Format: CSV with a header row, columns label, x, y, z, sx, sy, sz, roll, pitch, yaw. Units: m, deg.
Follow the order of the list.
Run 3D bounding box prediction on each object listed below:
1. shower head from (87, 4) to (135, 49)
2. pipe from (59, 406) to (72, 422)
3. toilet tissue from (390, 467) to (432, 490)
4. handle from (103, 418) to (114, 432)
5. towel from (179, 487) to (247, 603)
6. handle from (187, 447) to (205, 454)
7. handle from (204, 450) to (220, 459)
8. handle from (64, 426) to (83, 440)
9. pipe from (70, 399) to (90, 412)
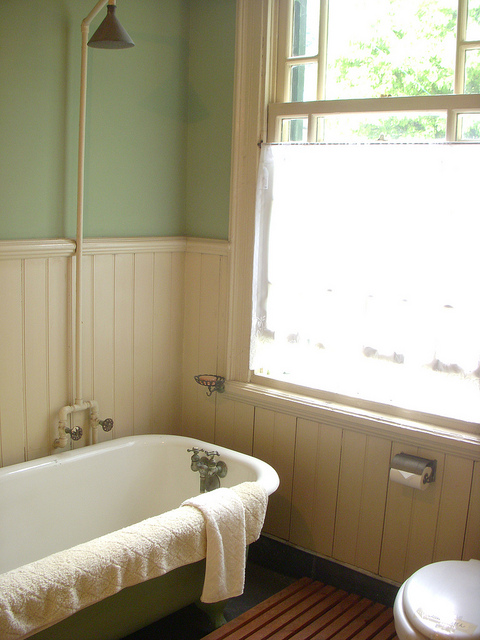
label,x,y,z,sx,sy,sz,roll,pitch,yaw
shower head,-0.410,-0.922,1.651,0.122,0.127,0.182,-3,9,-23
pipe,-0.714,0.380,2.138,0.035,0.063,0.059,-1,-6,23
toilet tissue,0.596,0.550,1.860,0.116,0.108,0.095,-1,-3,38
handle,-0.587,0.462,2.346,0.036,0.036,0.063,-30,31,-34
towel,-0.067,0.709,1.663,0.204,0.317,0.141,-6,11,-40
handle,-0.180,0.533,2.158,0.077,0.034,0.026,2,2,6
handle,-0.109,0.530,2.099,0.043,0.027,0.061,2,6,23
handle,-0.689,0.465,2.181,0.065,0.038,0.036,9,14,42
pipe,-0.668,0.356,2.193,0.026,0.045,0.094,0,-2,25
